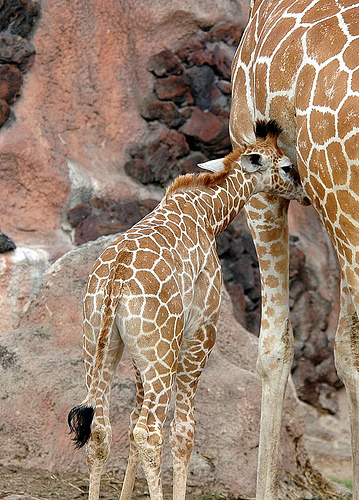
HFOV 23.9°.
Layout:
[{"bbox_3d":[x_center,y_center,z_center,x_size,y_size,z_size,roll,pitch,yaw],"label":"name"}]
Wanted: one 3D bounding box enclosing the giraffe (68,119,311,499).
[{"bbox_3d":[0.008,0.213,4.019,0.585,1.676,1.121,7,-2,27],"label":"giraffe"}]
